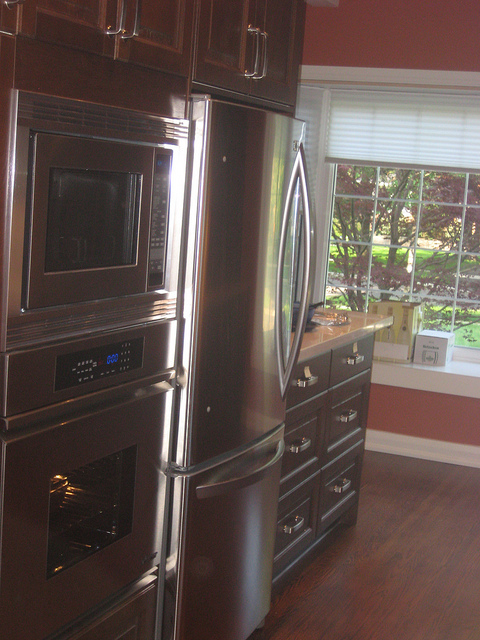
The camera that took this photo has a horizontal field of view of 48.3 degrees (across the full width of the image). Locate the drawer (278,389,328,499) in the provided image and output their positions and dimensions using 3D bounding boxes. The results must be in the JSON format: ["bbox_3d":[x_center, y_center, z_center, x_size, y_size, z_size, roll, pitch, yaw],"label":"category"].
[{"bbox_3d":[0.178,0.472,2.155,0.196,0.310,0.296,11,14,42],"label":"drawer"}]

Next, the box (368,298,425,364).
[{"bbox_3d":[1.087,0.156,3.884,0.340,0.289,0.486,6,56,17],"label":"box"}]

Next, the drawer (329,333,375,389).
[{"bbox_3d":[0.506,0.182,2.460,0.182,0.162,0.295,5,13,36],"label":"drawer"}]

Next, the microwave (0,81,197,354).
[{"bbox_3d":[-0.277,-0.206,1.025,0.169,0.479,0.511,8,13,26],"label":"microwave"}]

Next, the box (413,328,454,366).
[{"bbox_3d":[1.353,0.162,3.750,0.214,0.257,0.171,7,8,31],"label":"box"}]

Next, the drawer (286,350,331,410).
[{"bbox_3d":[0.263,0.231,2.073,0.152,0.128,0.237,7,19,35],"label":"drawer"}]

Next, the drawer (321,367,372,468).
[{"bbox_3d":[0.433,0.463,2.580,0.324,0.352,0.202,-21,19,-29],"label":"drawer"}]
